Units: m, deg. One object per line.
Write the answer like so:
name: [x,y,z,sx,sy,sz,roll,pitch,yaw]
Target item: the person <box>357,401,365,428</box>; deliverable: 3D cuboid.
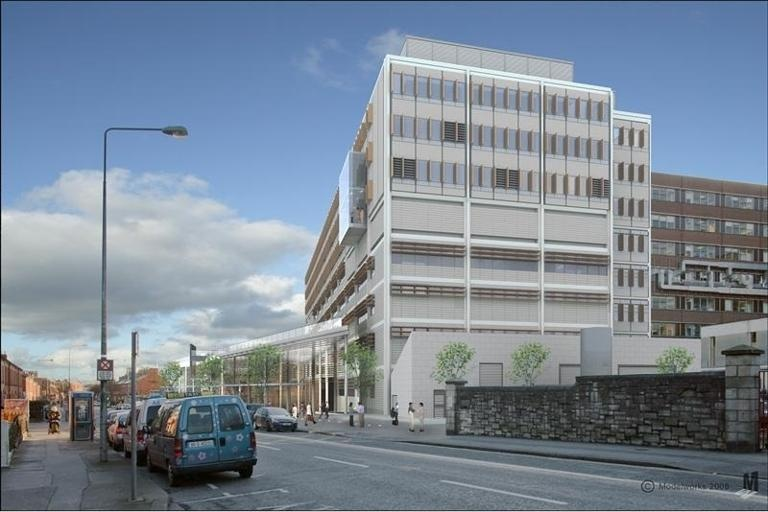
person: [-1.569,11.189,64.797,0.385,1.618,1.063,0,-13,-8]
